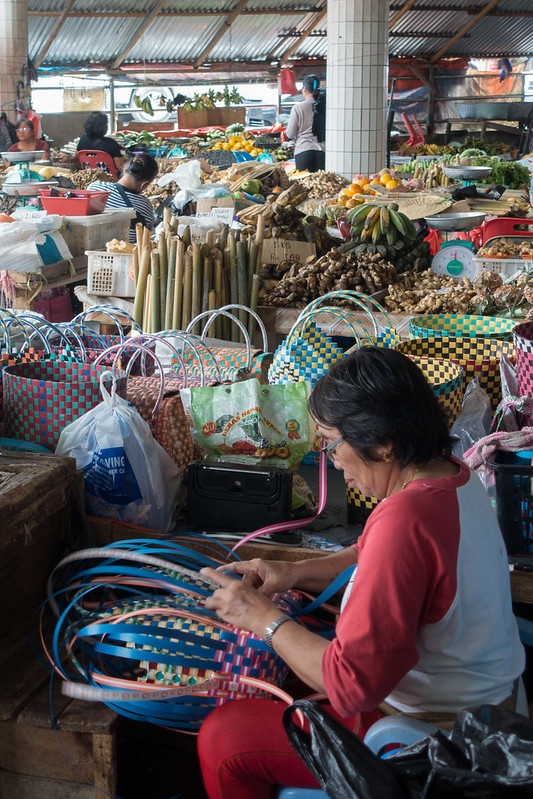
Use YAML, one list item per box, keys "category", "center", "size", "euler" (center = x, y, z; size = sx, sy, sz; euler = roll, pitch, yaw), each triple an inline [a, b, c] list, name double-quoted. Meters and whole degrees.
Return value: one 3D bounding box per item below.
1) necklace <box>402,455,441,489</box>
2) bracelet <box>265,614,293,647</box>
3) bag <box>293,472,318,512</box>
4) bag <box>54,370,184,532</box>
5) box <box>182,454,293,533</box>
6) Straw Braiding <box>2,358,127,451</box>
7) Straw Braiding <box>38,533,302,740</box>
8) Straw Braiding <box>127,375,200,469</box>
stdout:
- category: "necklace"
  center: [0.225, 0.109, 0.922]
  size: [0.034, 0.054, 0.054]
  euler: [-1, 0, -1]
- category: "bracelet"
  center: [0.019, 0.357, 0.951]
  size: [0.013, 0.045, 0.047]
  euler: [8, -30, -8]
- category: "bag"
  center: [0.101, 0.259, 1.670]
  size: [0.076, 0.092, 0.103]
  euler: [-1, -11, -9]
- category: "bag"
  center: [-0.379, 0.145, 1.567]
  size: [0.338, 0.394, 0.223]
  euler: [10, 15, 17]
- category: "box"
  center: [-0.064, 0.236, 1.520]
  size: [0.188, 0.120, 0.065]
  euler: [4, 17, 11]
- category: "Straw Braiding"
  center: [-0.544, 0.005, 1.729]
  size: [0.430, 0.289, 0.225]
  euler: [3, 6, 5]
- category: "Straw Braiding"
  center: [-0.163, 0.474, 1.276]
  size: [0.398, 0.150, 0.429]
  euler: [14, -1, -21]
- category: "Straw Braiding"
  center: [-0.277, 0.071, 1.656]
  size: [0.151, 0.208, 0.234]
  euler: [-5, 8, 15]
